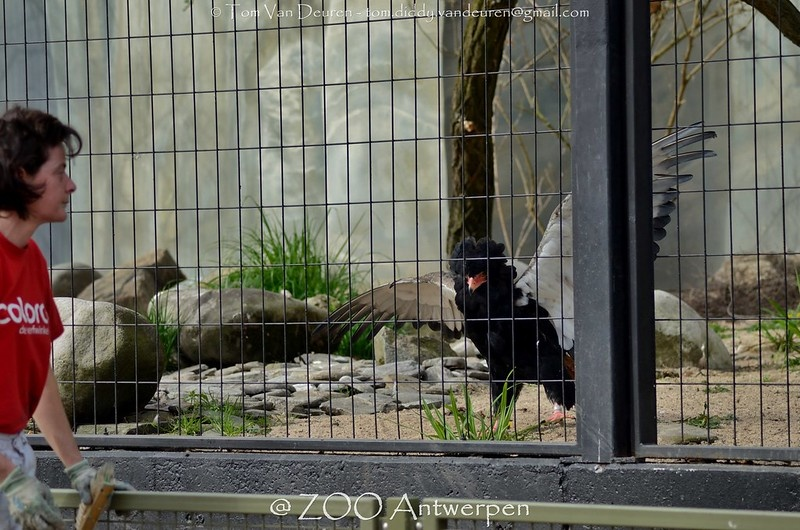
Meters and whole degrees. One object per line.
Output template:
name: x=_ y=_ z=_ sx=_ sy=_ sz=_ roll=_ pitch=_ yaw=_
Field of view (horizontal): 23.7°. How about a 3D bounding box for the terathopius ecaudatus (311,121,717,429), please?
terathopius ecaudatus: x=1.163 y=0.642 z=17.795 sx=4.753 sy=2.198 sz=2.205 roll=-22 pitch=-26 yaw=33
